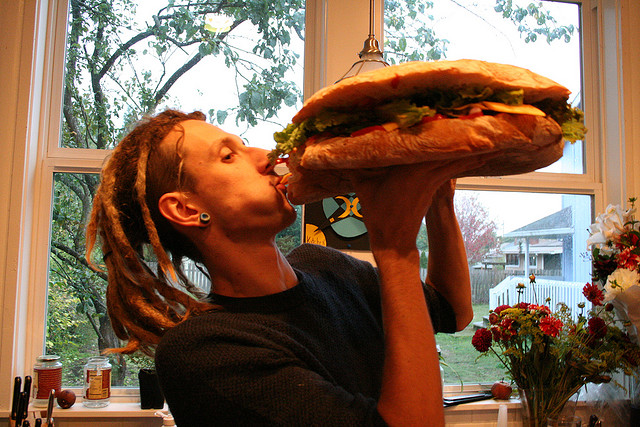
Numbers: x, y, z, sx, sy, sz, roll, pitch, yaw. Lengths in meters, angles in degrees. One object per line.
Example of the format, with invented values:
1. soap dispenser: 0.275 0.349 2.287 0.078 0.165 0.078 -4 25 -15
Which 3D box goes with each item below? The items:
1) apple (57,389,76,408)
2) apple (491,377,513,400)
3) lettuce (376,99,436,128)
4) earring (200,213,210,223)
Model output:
1. apple: -1.423 1.055 3.664 0.094 0.102 0.092 0 6 -20
2. apple: 1.103 1.065 3.959 0.118 0.160 0.122 0 -5 21
3. lettuce: 0.325 -0.372 2.468 0.140 0.102 0.186 2 5 -7
4. earring: -0.462 0.024 2.621 0.035 0.029 0.036 4 9 30
